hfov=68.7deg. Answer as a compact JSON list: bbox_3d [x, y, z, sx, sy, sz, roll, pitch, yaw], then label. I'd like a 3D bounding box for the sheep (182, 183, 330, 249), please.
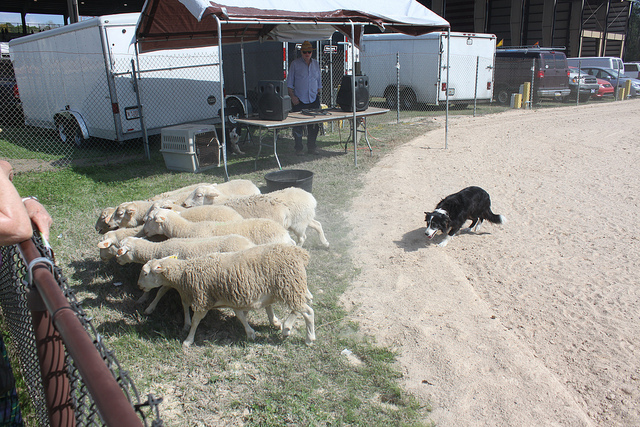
[{"bbox_3d":[-0.960,0.100,7.535,2.307,1.116,0.722,-1,19,-10],"label":"sheep"}]

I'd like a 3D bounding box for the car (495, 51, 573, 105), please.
[{"bbox_3d":[10.653,-6.861,22.918,2.295,2.033,3.587,-23,36,-31],"label":"car"}]

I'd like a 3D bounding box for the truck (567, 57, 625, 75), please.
[{"bbox_3d":[16.195,-8.703,27.437,2.458,1.223,1.050,11,32,39],"label":"truck"}]

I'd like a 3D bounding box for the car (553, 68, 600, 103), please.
[{"bbox_3d":[13.985,-7.469,26.271,1.632,1.778,3.776,-3,16,-10],"label":"car"}]

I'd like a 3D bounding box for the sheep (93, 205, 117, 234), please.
[{"bbox_3d":[-3.452,0.092,7.506,0.262,0.460,0.343,39,-17,-32],"label":"sheep"}]

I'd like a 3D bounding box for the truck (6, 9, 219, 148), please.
[{"bbox_3d":[-6.209,-4.362,14.274,6.193,3.264,3.959,21,36,30],"label":"truck"}]

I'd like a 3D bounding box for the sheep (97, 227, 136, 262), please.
[{"bbox_3d":[-2.971,0.431,6.993,0.694,0.402,0.430,-19,7,-28],"label":"sheep"}]

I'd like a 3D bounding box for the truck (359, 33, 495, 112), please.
[{"bbox_3d":[4.538,-6.150,21.682,4.264,3.406,6.517,-14,28,-29],"label":"truck"}]

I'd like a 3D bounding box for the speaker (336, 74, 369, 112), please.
[{"bbox_3d":[0.892,-3.263,12.575,0.635,0.893,0.758,-17,27,-37],"label":"speaker"}]

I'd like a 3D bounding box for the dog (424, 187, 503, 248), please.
[{"bbox_3d":[2.592,0.021,8.605,1.842,0.927,0.528,-19,26,-30],"label":"dog"}]

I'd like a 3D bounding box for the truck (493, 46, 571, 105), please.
[{"bbox_3d":[10.304,-6.764,22.890,2.030,1.870,3.139,-27,42,-31],"label":"truck"}]

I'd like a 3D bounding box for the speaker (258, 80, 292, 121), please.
[{"bbox_3d":[-1.137,-2.716,11.146,0.747,0.900,0.375,7,20,20],"label":"speaker"}]
